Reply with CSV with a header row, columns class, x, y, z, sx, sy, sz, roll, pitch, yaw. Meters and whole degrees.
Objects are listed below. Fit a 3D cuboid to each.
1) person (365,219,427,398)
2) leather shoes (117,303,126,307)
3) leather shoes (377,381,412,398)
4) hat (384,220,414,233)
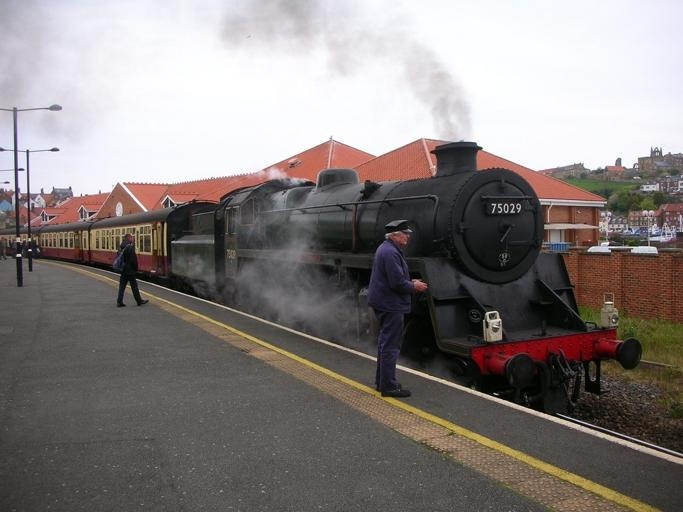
class,x,y,z,sx,sy,sz,roll,pitch,yaw
person,0.629,0.598,6.481,0.637,2.026,0.681,2,7,23
leather shoes,-5.215,1.138,12.716,0.069,0.098,0.208,4,5,35
leather shoes,0.616,1.544,6.359,0.399,0.193,0.159,-1,3,-11
hat,0.711,-0.371,6.710,0.287,0.128,0.266,0,4,-31
